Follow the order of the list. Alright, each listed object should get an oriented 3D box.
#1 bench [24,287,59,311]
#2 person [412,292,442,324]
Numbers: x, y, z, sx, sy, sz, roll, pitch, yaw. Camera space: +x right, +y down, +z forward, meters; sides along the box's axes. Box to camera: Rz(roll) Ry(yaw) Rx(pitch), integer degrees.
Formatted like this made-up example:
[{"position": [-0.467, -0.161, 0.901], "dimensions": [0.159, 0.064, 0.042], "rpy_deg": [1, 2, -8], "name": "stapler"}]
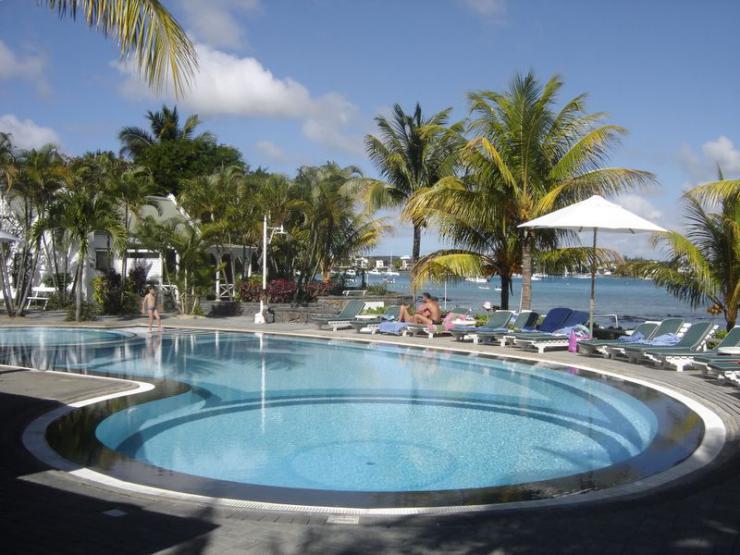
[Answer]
[{"position": [-15.280, 0.873, 26.700], "dimensions": [1.037, 1.066, 2.219], "rpy_deg": [-1, 3, -42], "name": "bench"}, {"position": [2.118, 1.168, 22.173], "dimensions": [1.094, 1.597, 1.050], "rpy_deg": [-4, 8, -35], "name": "person"}]
